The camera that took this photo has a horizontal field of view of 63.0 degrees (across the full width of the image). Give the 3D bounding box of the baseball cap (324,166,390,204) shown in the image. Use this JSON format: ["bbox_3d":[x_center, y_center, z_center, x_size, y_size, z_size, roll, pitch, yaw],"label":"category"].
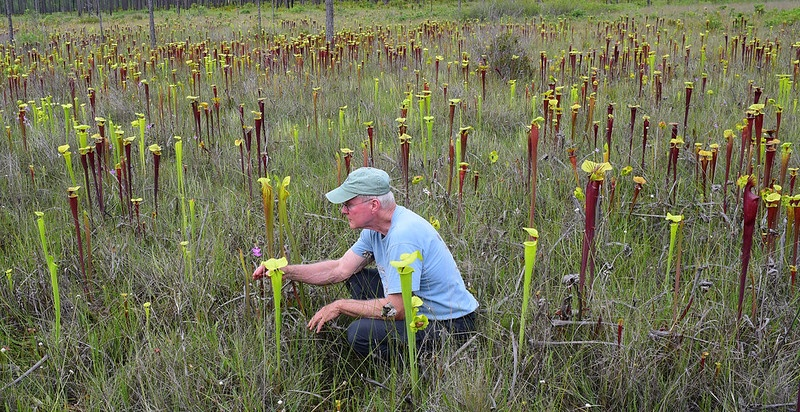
[{"bbox_3d":[-0.489,-0.257,8.069,0.622,0.268,0.421,-7,15,-8],"label":"baseball cap"}]
